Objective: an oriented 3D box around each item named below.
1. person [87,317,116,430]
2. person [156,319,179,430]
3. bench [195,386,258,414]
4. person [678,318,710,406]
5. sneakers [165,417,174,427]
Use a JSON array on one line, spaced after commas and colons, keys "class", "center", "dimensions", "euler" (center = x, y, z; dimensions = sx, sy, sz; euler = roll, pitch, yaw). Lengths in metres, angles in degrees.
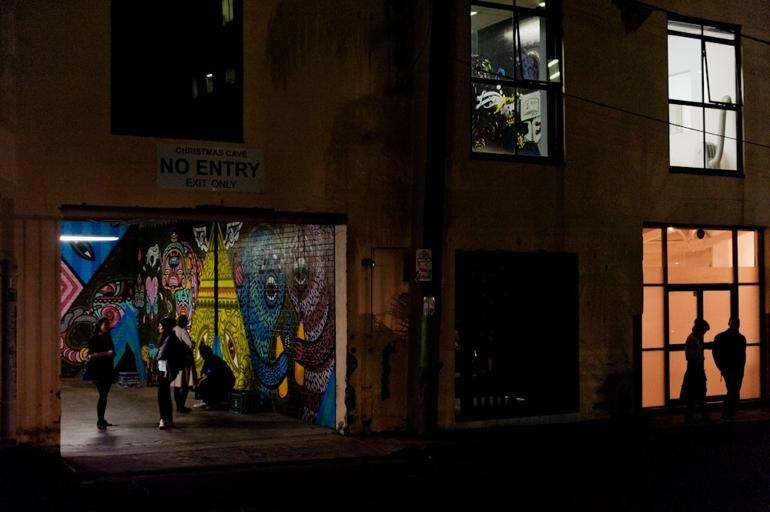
[{"class": "person", "center": [-6.252, 2.562, 19.502], "dimensions": [0.543, 2.321, 1.140], "euler": [-1, 3, -19]}, {"class": "person", "center": [-4.809, 2.564, 19.677], "dimensions": [0.447, 2.279, 1.032], "euler": [-1, 3, -14]}, {"class": "bench", "center": [-3.672, 3.459, 21.458], "dimensions": [1.317, 0.508, 0.464], "euler": [2, 4, 26]}, {"class": "person", "center": [7.072, 2.436, 20.297], "dimensions": [0.669, 1.934, 0.392], "euler": [-1, 3, -20]}, {"class": "sneakers", "center": [-4.688, 3.610, 19.463], "dimensions": [0.135, 0.191, 0.363], "euler": [0, 3, 2]}]
